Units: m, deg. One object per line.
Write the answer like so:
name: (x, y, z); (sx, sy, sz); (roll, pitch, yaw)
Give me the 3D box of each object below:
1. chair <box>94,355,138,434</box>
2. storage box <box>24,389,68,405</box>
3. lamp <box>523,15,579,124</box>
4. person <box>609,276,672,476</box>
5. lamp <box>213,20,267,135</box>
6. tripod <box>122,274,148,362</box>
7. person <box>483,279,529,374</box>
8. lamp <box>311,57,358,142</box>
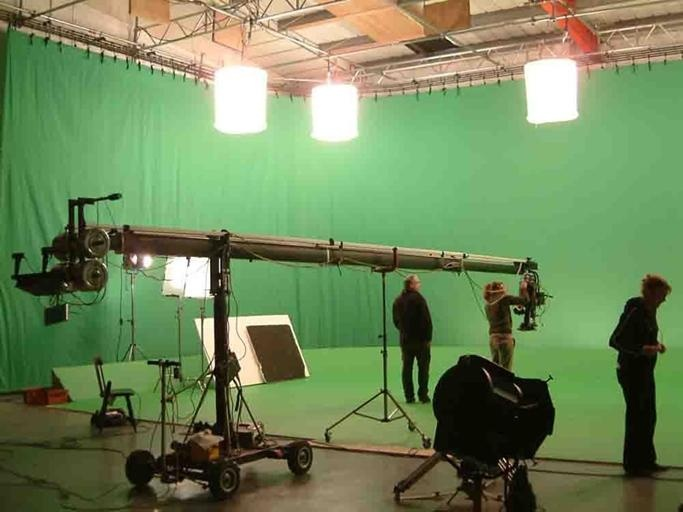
chair: (-3.547, 2.042, 11.114); (0.665, 0.989, 1.903); (-1, 1, -19)
storage box: (-5.038, 2.374, 12.167); (0.745, 0.261, 0.537); (-1, 1, -24)
lamp: (2.839, -2.186, 9.373); (0.766, 0.874, 0.782); (-3, 2, -16)
person: (3.672, 1.390, 8.608); (0.711, 2.324, 0.554); (-2, 2, -42)
lamp: (-1.240, -1.966, 8.969); (0.643, 0.771, 0.377); (-1, 1, -10)
tripod: (-4.196, 1.201, 14.405); (0.449, 1.782, 0.938); (-1, 1, -16)
person: (2.544, 1.003, 10.632); (0.674, 1.337, 0.577); (0, 1, 13)
lamp: (-0.153, -2.017, 9.666); (0.698, 1.081, 0.684); (-23, 41, -33)
